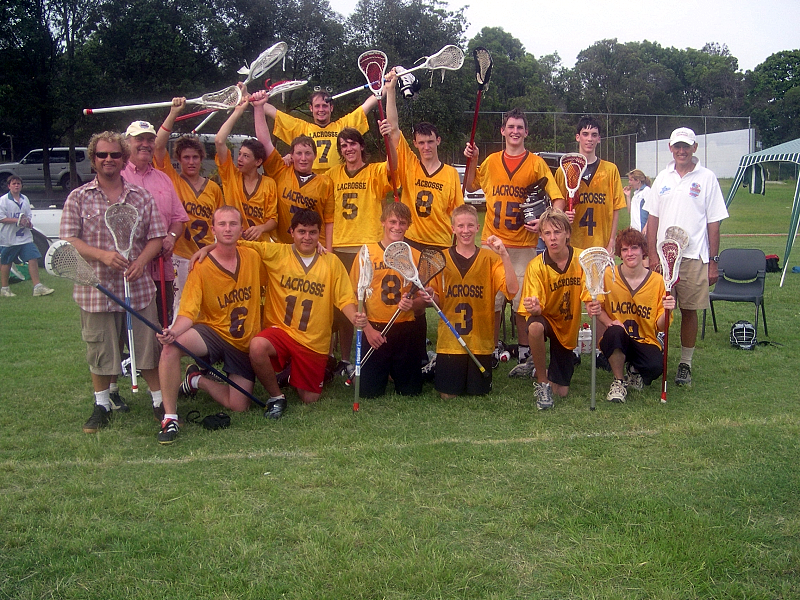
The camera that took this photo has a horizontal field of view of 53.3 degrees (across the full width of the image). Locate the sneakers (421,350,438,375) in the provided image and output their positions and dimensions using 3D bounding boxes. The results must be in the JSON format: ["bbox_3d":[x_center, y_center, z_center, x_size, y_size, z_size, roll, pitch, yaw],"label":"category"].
[{"bbox_3d":[0.317,0.686,8.642,0.162,0.227,0.075,13,-7,4],"label":"sneakers"}]

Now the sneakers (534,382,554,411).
[{"bbox_3d":[1.390,0.907,7.660,0.190,0.221,0.321,2,15,10],"label":"sneakers"}]

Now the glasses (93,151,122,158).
[{"bbox_3d":[-2.540,-1.261,6.954,0.220,0.066,0.061,-7,16,-22],"label":"glasses"}]

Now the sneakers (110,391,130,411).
[{"bbox_3d":[-2.682,0.968,7.603,0.108,0.127,0.295,-4,9,-42],"label":"sneakers"}]

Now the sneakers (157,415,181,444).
[{"bbox_3d":[-2.005,1.115,6.900,0.175,0.181,0.208,-6,16,-19],"label":"sneakers"}]

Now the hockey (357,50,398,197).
[{"bbox_3d":[-0.216,-2.009,8.465,0.292,1.803,0.193,-6,3,-7],"label":"hockey"}]

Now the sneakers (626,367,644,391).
[{"bbox_3d":[2.406,0.815,8.133,0.069,0.214,0.093,-17,-23,-34],"label":"sneakers"}]

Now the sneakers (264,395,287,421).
[{"bbox_3d":[-1.159,1.015,7.428,0.137,0.175,0.392,0,-9,-3],"label":"sneakers"}]

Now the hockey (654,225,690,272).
[{"bbox_3d":[2.774,-0.551,8.090,0.286,0.487,0.155,16,1,25],"label":"hockey"}]

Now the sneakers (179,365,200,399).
[{"bbox_3d":[-2.066,0.822,7.845,0.146,0.378,0.130,-1,-19,42],"label":"sneakers"}]

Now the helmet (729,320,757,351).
[{"bbox_3d":[4.108,0.429,9.532,0.228,0.362,0.176,-3,-44,27],"label":"helmet"}]

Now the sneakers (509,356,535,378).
[{"bbox_3d":[1.342,0.762,8.674,0.382,0.186,0.130,-3,-1,-27],"label":"sneakers"}]

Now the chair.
[{"bbox_3d":[4.570,-0.057,10.781,0.710,1.176,0.854,2,-4,8],"label":"chair"}]
